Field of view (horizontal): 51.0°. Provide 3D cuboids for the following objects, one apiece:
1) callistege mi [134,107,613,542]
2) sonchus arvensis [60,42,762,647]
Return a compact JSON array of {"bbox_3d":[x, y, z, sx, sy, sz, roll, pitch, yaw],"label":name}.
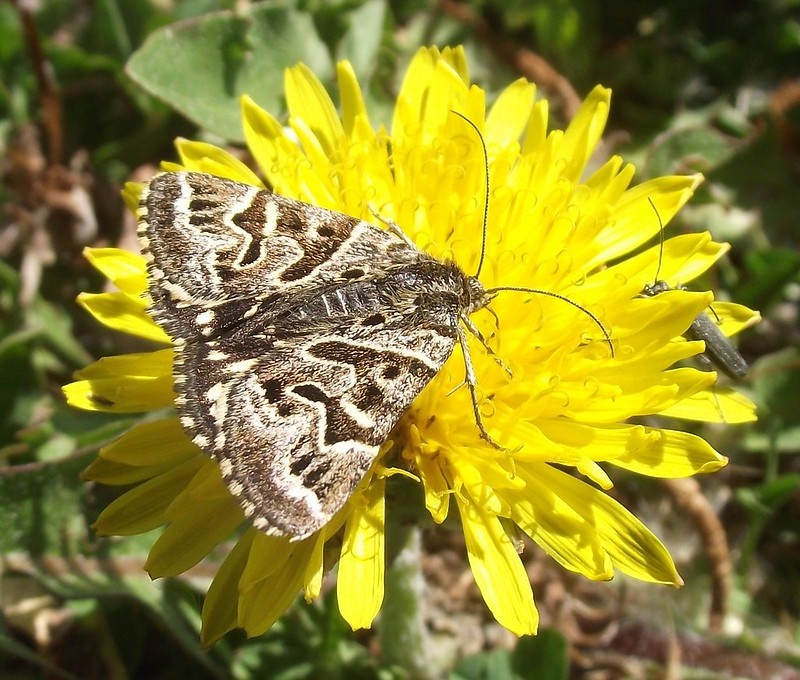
[{"bbox_3d":[-0.218,0.001,1.796,0.994,0.917,0.283,-13,-34,-24],"label":"callistege mi"},{"bbox_3d":[-0.092,0.050,2.114,1.663,1.394,0.672,-16,34,-28],"label":"sonchus arvensis"}]
